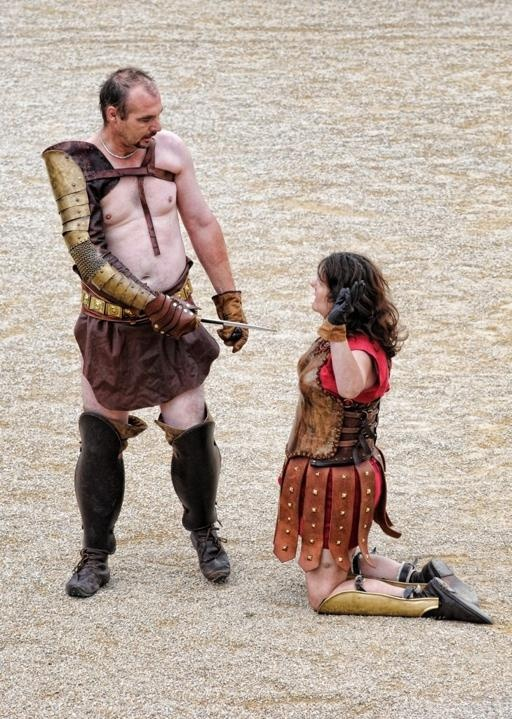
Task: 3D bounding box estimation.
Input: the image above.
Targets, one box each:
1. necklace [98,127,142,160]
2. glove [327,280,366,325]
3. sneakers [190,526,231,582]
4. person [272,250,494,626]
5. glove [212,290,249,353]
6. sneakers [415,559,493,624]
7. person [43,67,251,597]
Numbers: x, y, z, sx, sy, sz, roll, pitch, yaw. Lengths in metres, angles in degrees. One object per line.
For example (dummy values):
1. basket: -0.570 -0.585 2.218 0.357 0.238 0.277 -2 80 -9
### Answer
1. necklace: -0.491 -0.749 4.253 0.152 0.062 0.117 22 -9 47
2. glove: 0.307 -0.179 4.069 0.095 0.174 0.177 7 26 22
3. sneakers: -0.190 0.740 4.568 0.104 0.099 0.245 -26 18 -3
4. person: 0.369 0.299 4.202 0.677 1.272 0.763 -7 26 -5
5. glove: -0.092 -0.144 4.599 0.160 0.224 0.091 -18 2 -3
6. sneakers: 0.679 0.818 4.186 0.335 0.134 0.105 34 -9 4
7. person: -0.408 -0.066 4.444 0.687 1.937 0.924 0 26 8
